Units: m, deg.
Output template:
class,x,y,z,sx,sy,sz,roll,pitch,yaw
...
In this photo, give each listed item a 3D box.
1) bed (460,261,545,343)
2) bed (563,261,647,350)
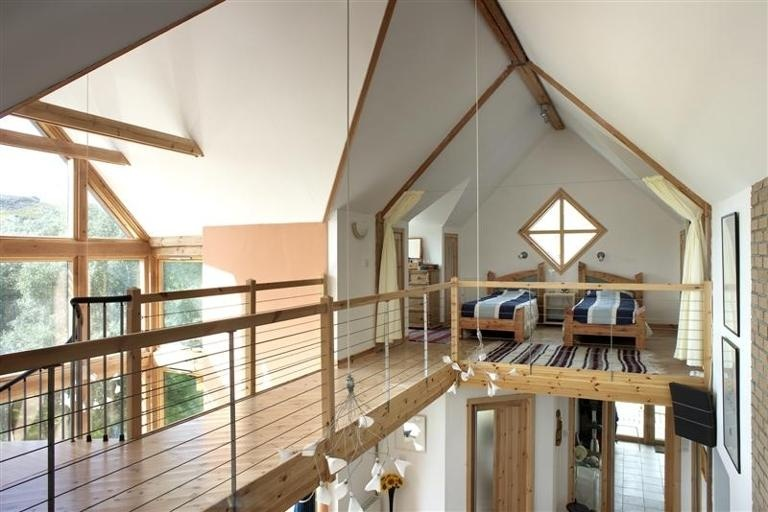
class,x,y,z,sx,sy,sz,roll,pitch,yaw
bed,2.308,0.812,9.672,1.160,1.181,1.979,2,6,24
bed,4.028,0.841,9.176,1.378,1.143,2.113,-1,1,25
